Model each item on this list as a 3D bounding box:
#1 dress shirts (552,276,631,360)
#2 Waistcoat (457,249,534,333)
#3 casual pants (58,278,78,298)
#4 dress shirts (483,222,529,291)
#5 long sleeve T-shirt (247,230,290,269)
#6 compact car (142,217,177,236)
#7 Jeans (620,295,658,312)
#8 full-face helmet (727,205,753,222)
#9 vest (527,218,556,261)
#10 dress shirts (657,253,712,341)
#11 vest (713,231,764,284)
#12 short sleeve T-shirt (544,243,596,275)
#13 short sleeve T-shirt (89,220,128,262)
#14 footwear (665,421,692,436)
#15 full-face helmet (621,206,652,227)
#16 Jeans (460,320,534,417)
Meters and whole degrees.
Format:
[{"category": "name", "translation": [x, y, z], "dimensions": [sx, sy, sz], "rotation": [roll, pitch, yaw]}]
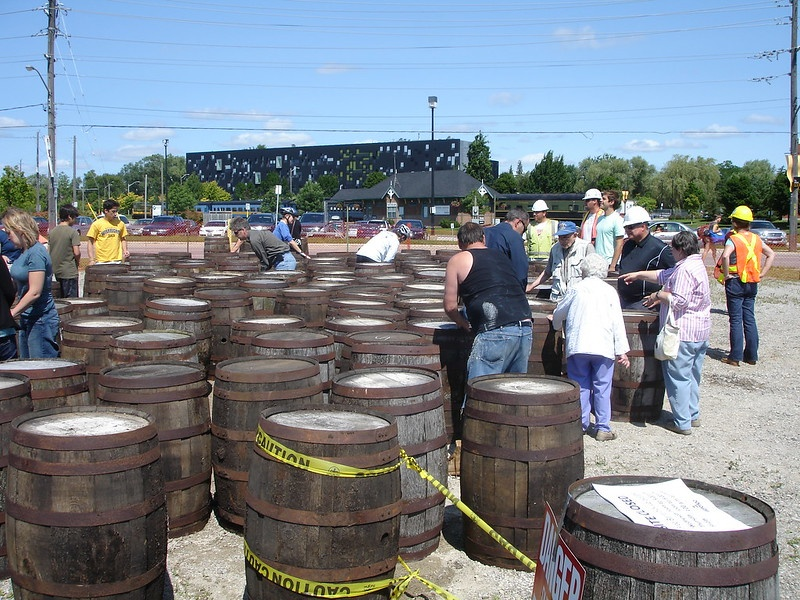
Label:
[{"category": "dress shirts", "translation": [1.935, 0.161, 8.127], "dimensions": [0.709, 0.840, 0.422], "rotation": [0, 5, 9]}, {"category": "Waistcoat", "translation": [0.877, -0.085, 7.503], "dimensions": [0.604, 0.866, 0.475], "rotation": [-18, -2, 10]}, {"category": "casual pants", "translation": [-4.801, -0.185, 11.605], "dimensions": [0.203, 0.281, 0.159], "rotation": [13, 21, 32]}, {"category": "dress shirts", "translation": [1.165, -0.505, 9.128], "dimensions": [0.273, 0.765, 0.820], "rotation": [-4, 9, -40]}, {"category": "long sleeve T-shirt", "translation": [-2.232, -0.876, 13.275], "dimensions": [0.511, 0.723, 0.264], "rotation": [-15, 9, -33]}, {"category": "compact car", "translation": [-13.246, -4.164, 44.916], "dimensions": [0.972, 0.830, 2.390], "rotation": [0, 5, -1]}, {"category": "Jeans", "translation": [2.846, 0.035, 9.676], "dimensions": [0.258, 0.281, 0.273], "rotation": [0, 0, -4]}, {"category": "full-face helmet", "translation": [5.022, -1.269, 11.796], "dimensions": [0.275, 0.203, 0.343], "rotation": [4, 11, 6]}, {"category": "vest", "translation": [2.471, -1.069, 14.043], "dimensions": [0.493, 0.739, 0.382], "rotation": [-1, -8, 19]}, {"category": "dress shirts", "translation": [3.080, -0.017, 8.787], "dimensions": [0.617, 0.924, 0.801], "rotation": [3, 10, 20]}, {"category": "vest", "translation": [5.058, -0.644, 11.730], "dimensions": [0.478, 0.705, 0.449], "rotation": [-9, -1, -21]}, {"category": "short sleeve T-shirt", "translation": [2.140, -0.591, 10.209], "dimensions": [0.332, 0.543, 0.648], "rotation": [-2, 2, -37]}, {"category": "short sleeve T-shirt", "translation": [-4.830, -1.052, 13.340], "dimensions": [0.601, 0.719, 0.319], "rotation": [-8, 34, -29]}, {"category": "footwear", "translation": [3.034, 1.381, 8.795], "dimensions": [0.106, 0.137, 0.303], "rotation": [-7, 22, -33]}, {"category": "full-face helmet", "translation": [2.847, -1.016, 9.558], "dimensions": [0.214, 0.170, 0.272], "rotation": [3, 1, 43]}, {"category": "Jeans", "translation": [0.931, 0.586, 7.324], "dimensions": [0.486, 0.937, 0.647], "rotation": [6, 3, 33]}]
